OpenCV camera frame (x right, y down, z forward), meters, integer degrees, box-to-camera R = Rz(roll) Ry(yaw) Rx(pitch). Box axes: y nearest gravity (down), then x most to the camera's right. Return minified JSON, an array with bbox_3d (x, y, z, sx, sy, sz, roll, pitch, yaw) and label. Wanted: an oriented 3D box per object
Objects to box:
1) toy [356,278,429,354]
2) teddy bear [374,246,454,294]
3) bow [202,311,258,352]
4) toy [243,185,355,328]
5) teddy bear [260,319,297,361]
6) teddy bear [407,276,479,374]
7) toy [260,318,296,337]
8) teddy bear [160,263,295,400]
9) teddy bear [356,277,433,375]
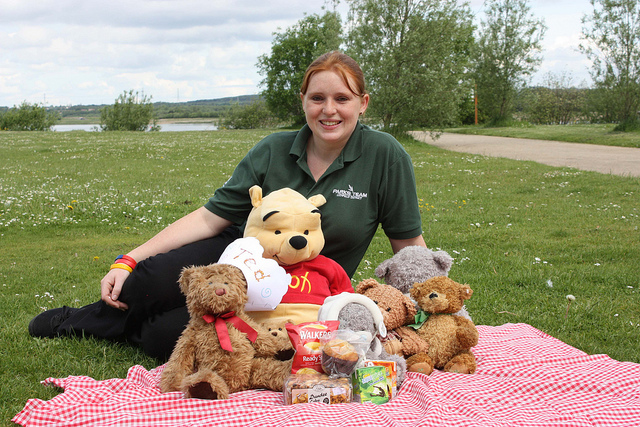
[{"bbox_3d":[0.716,1.078,5.846,0.911,0.745,0.499,5,16,30],"label":"toy"},{"bbox_3d":[1.040,0.594,6.106,0.573,0.598,0.530,-2,-12,-27],"label":"teddy bear"},{"bbox_3d":[-0.876,1.149,5.394,0.410,0.418,0.112,-22,-5,-26],"label":"bow"},{"bbox_3d":[-0.355,0.543,6.019,1.448,1.609,0.978,2,-6,-13],"label":"toy"},{"bbox_3d":[-0.422,1.298,5.632,0.388,0.448,0.306,-11,-12,9],"label":"teddy bear"},{"bbox_3d":[1.279,1.142,5.942,0.612,1.044,0.721,0,-3,2],"label":"teddy bear"},{"bbox_3d":[-0.450,1.151,5.569,0.272,0.188,0.161,1,-21,0],"label":"toy"},{"bbox_3d":[-0.914,1.195,5.938,1.233,1.305,1.360,0,-3,-4],"label":"teddy bear"},{"bbox_3d":[0.797,1.107,5.824,0.623,0.984,0.854,2,-2,-21],"label":"teddy bear"}]
